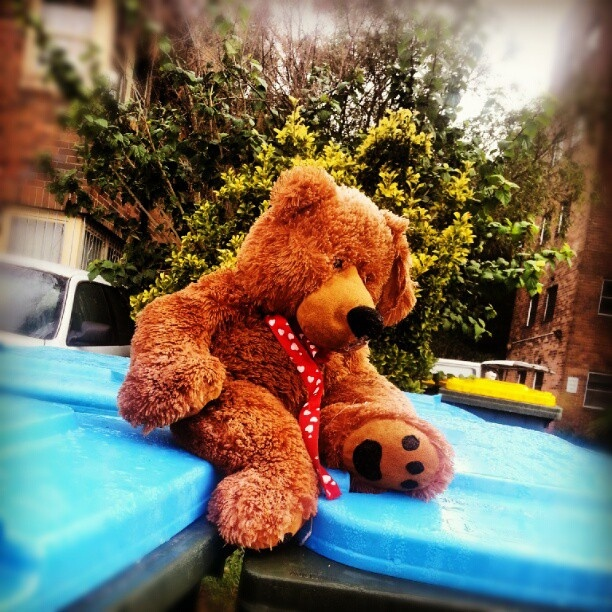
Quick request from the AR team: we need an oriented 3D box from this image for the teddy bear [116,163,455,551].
[{"bbox_3d":[0.004,0.054,1.156,0.802,0.811,0.523,4,5,-28],"label":"teddy bear"}]
